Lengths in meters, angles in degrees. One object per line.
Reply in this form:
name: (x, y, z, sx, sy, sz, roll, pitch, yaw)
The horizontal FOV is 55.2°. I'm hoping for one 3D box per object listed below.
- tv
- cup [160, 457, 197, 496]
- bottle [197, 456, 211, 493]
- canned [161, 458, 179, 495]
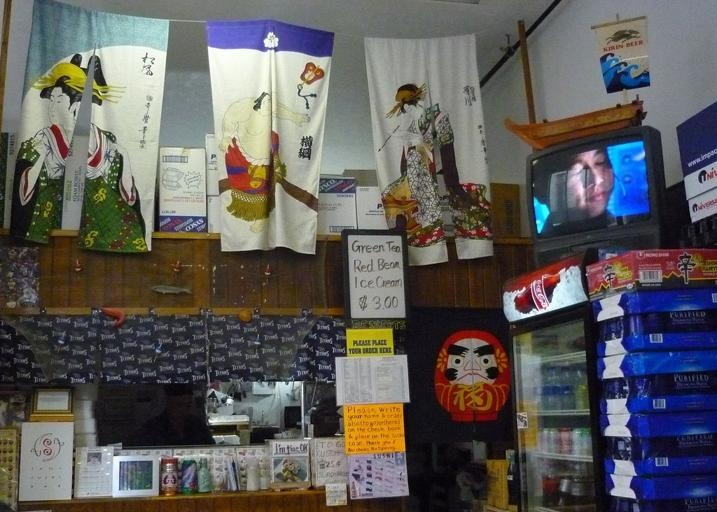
tv: (1.610, -0.401, 4.592, 0.868, 0.840, 0.481, -6, -10, 41)
cup: (-1.388, 1.695, 5.391, 0.272, 0.285, 0.267, 0, -2, 0)
bottle: (-1.216, 1.723, 5.417, 0.101, 0.258, 0.134, -1, -9, -2)
canned: (-1.470, 1.710, 5.317, 0.137, 0.272, 0.068, 2, -9, -19)
